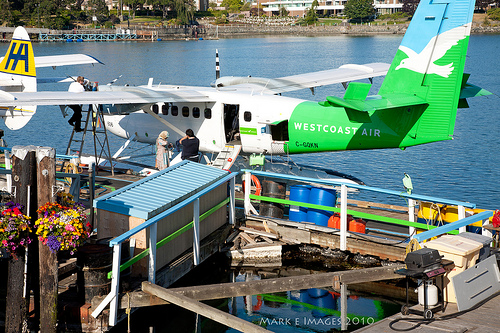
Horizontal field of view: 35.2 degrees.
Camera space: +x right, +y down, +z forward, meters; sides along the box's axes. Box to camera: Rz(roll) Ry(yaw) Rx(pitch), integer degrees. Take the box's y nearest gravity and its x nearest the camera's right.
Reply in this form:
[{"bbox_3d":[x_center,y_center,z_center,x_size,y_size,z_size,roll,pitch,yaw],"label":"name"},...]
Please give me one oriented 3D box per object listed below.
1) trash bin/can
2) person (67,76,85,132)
[{"bbox_3d":[6.510,3.107,25.932,2.206,2.085,2.790,8,13,35],"label":"trash bin/can"},{"bbox_3d":[-7.830,-2.930,35.959,1.267,2.511,0.901,-2,2,-29],"label":"person"}]
